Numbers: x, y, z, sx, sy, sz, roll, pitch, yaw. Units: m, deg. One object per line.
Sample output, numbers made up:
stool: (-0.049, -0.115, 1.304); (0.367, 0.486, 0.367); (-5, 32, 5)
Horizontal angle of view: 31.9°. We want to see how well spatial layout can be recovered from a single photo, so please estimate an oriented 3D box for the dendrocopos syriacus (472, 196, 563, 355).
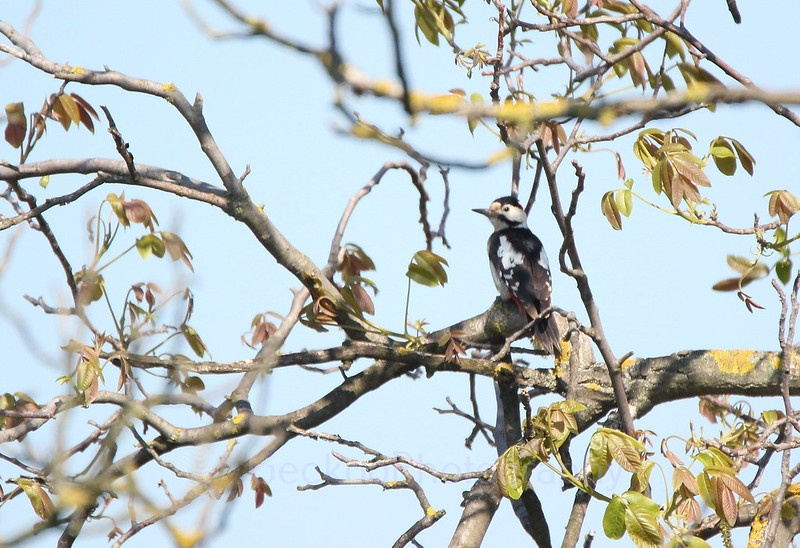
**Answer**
dendrocopos syriacus: (0.995, -0.022, 11.163); (0.387, 1.264, 0.867); (-2, -61, -25)
